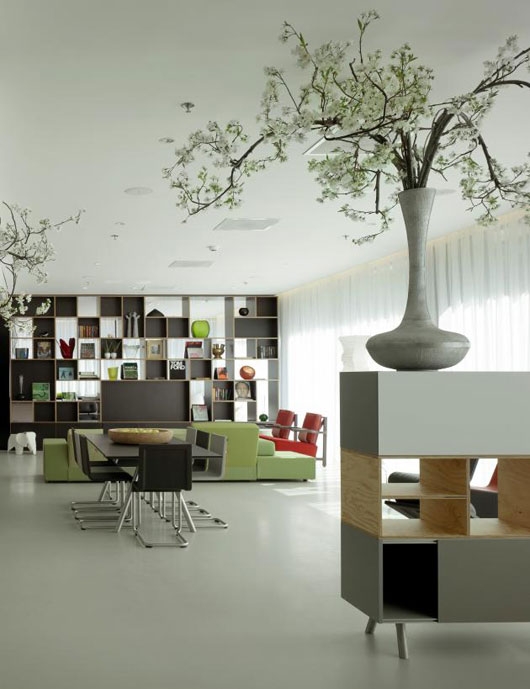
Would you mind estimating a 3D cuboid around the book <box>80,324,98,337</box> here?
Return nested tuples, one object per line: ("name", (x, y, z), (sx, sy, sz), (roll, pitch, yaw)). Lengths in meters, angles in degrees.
("book", (-3.554, -0.254, 12.507), (0.384, 0.230, 0.126), (3, -5, -23))

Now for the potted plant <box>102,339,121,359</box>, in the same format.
("potted plant", (-3.125, 0.089, 12.521), (0.372, 0.318, 0.117), (12, -3, -9))

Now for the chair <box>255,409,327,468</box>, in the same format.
("chair", (0.470, 1.513, 10.056), (1.004, 0.830, 1.010), (3, -8, -11))

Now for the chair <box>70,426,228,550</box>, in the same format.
("chair", (-1.171, 1.282, 6.019), (1.337, 0.832, 2.466), (2, -5, -17))

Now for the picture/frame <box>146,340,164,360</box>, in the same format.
("picture/frame", (-2.270, 0.106, 12.674), (0.447, 0.455, 0.054), (0, 1, -5))

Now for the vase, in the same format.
("vase", (0.665, -0.274, 2.716), (0.497, 0.729, 0.487), (4, 11, 33))

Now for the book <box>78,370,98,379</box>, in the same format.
("book", (-3.549, 0.618, 12.473), (0.415, 0.172, 0.218), (1, -5, -9))
